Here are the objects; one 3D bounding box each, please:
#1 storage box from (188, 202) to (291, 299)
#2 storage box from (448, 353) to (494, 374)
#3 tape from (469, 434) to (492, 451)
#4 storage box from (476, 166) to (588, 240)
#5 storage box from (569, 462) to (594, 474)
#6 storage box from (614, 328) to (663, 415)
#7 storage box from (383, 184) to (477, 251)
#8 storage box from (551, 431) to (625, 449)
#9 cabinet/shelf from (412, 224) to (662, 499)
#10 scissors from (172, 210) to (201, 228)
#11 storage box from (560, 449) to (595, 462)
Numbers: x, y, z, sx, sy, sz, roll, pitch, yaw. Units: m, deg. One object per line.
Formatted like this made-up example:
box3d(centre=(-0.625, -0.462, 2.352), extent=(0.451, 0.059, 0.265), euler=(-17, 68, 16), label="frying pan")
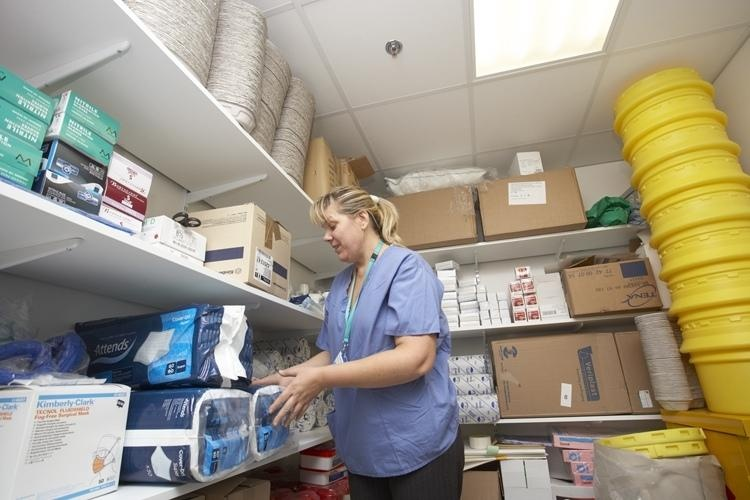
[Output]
box3d(centre=(-0.621, 0.014, 1.938), extent=(0.269, 0.334, 0.489), euler=(-1, -11, 18), label="storage box")
box3d(centre=(0.640, 0.779, 2.922), extent=(0.196, 0.069, 0.194), euler=(-6, -6, 11), label="storage box")
box3d(centre=(0.648, 1.195, 2.671), extent=(0.085, 0.047, 0.085), euler=(-6, -12, 29), label="tape")
box3d(centre=(1.093, -0.336, 3.025), extent=(0.774, 0.499, 0.172), euler=(-10, -14, 14), label="storage box")
box3d(centre=(1.233, 1.303, 2.563), extent=(0.128, 0.032, 0.116), euler=(-1, -16, 7), label="storage box")
box3d(centre=(1.613, 0.753, 2.652), extent=(0.157, 0.486, 0.064), euler=(-11, -21, 17), label="storage box")
box3d(centre=(0.438, -0.250, 3.155), extent=(0.814, 0.494, 0.431), euler=(-6, -14, 14), label="storage box")
box3d(centre=(1.270, 1.168, 2.643), extent=(0.340, 0.094, 0.146), euler=(-11, -20, 19), label="storage box")
box3d(centre=(1.018, 0.693, 2.564), extent=(1.570, 1.286, 0.495), euler=(-6, -22, 10), label="cabinet/shelf")
box3d(centre=(-0.833, -0.122, 1.887), extent=(0.101, 0.036, 0.101), euler=(1, -12, 30), label="scissors")
box3d(centre=(1.217, 1.238, 2.584), extent=(0.110, 0.028, 0.109), euler=(3, -13, -2), label="storage box")
